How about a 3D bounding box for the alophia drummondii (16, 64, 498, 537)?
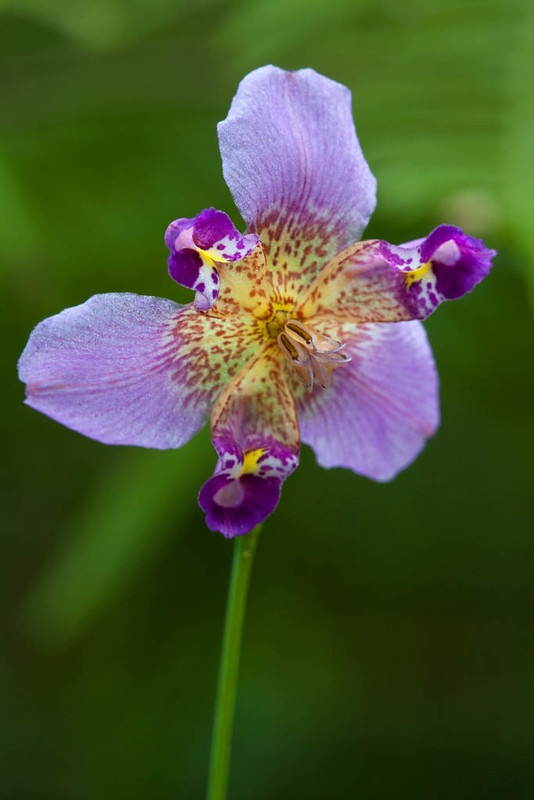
[{"bbox_3d":[-0.011,-0.051,0.778,0.409,0.435,0.240,-34,54,-23],"label":"alophia drummondii"}]
